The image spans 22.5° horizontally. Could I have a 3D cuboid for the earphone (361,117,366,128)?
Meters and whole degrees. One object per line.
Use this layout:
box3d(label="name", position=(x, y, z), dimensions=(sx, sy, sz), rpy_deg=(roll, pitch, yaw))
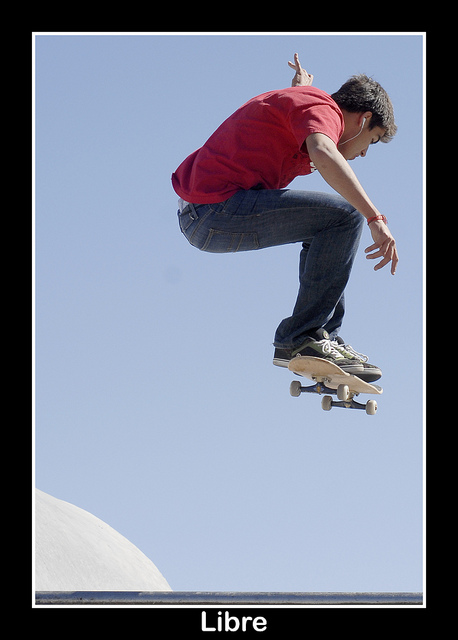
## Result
box3d(label="earphone", position=(0.758, -1.102, 6.466), dimensions=(0.009, 0.051, 0.010), rpy_deg=(17, 18, 39))

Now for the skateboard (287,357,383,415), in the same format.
box3d(label="skateboard", position=(0.549, 0.375, 6.757), dimensions=(0.347, 0.188, 0.648), rpy_deg=(2, -6, 12))

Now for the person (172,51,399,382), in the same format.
box3d(label="person", position=(0.361, -0.798, 6.641), dimensions=(1.387, 2.143, 1.082), rpy_deg=(2, -8, 9))

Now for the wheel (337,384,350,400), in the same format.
box3d(label="wheel", position=(0.659, 0.423, 6.700), dimensions=(0.067, 0.086, 0.111), rpy_deg=(-2, -7, 4))
